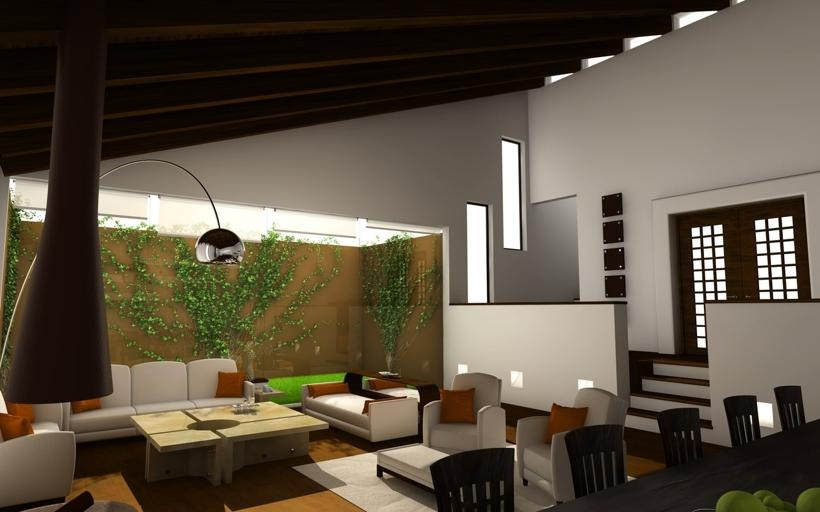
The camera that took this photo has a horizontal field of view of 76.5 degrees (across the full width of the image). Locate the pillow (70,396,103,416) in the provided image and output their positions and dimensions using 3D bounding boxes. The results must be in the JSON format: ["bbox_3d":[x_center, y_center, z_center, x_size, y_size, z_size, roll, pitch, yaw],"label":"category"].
[{"bbox_3d":[-4.816,2.210,7.706,0.400,0.227,0.254,-9,13,-37],"label":"pillow"}]

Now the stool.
[{"bbox_3d":[0.178,2.554,6.431,0.852,0.295,1.165,-6,-2,-43],"label":"stool"}]

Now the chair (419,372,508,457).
[{"bbox_3d":[0.778,2.243,7.274,1.001,1.112,1.082,5,-9,-40],"label":"chair"}]

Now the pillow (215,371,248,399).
[{"bbox_3d":[-3.031,2.161,8.696,0.399,0.371,0.137,3,-22,-14],"label":"pillow"}]

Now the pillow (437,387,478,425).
[{"bbox_3d":[0.664,2.098,7.330,0.520,0.469,0.193,-5,-19,17],"label":"pillow"}]

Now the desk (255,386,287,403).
[{"bbox_3d":[-2.490,2.383,9.020,0.326,0.192,0.324,5,-8,-32],"label":"desk"}]

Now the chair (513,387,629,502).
[{"bbox_3d":[1.913,2.215,6.258,1.195,1.132,1.091,-3,-3,0],"label":"chair"}]
